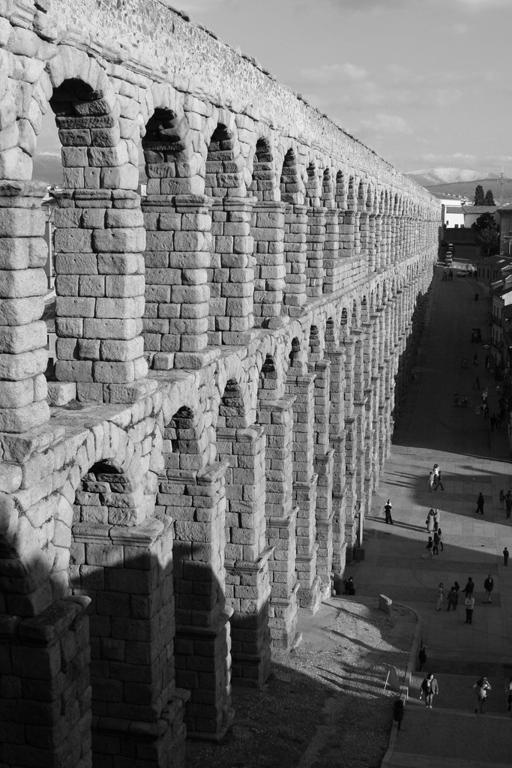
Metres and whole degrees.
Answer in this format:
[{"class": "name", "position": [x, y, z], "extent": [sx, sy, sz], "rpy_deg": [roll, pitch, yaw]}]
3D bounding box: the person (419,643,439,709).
[{"class": "person", "position": [4.000, 6.798, 23.376], "extent": [0.487, 1.798, 0.516], "rpy_deg": [2, 32, 18]}]

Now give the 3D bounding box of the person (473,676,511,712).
[{"class": "person", "position": [5.236, 6.805, 22.167], "extent": [0.542, 0.938, 1.310], "rpy_deg": [-4, -13, 10]}]

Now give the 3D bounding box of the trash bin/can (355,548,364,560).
[{"class": "trash bin/can", "position": [3.412, 5.509, 32.886], "extent": [0.278, 0.528, 0.290], "rpy_deg": [-1, -2, 39]}]
